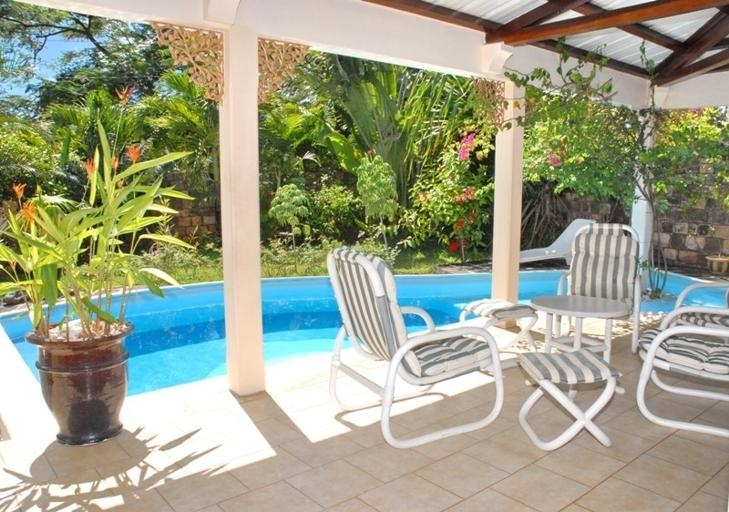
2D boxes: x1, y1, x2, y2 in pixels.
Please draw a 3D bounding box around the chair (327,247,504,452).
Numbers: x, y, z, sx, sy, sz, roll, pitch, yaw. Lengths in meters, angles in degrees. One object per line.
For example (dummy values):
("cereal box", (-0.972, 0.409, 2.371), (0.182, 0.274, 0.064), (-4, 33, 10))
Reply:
("chair", (0.379, 0.636, 3.729), (1.225, 1.264, 1.160), (-2, 2, -11))
